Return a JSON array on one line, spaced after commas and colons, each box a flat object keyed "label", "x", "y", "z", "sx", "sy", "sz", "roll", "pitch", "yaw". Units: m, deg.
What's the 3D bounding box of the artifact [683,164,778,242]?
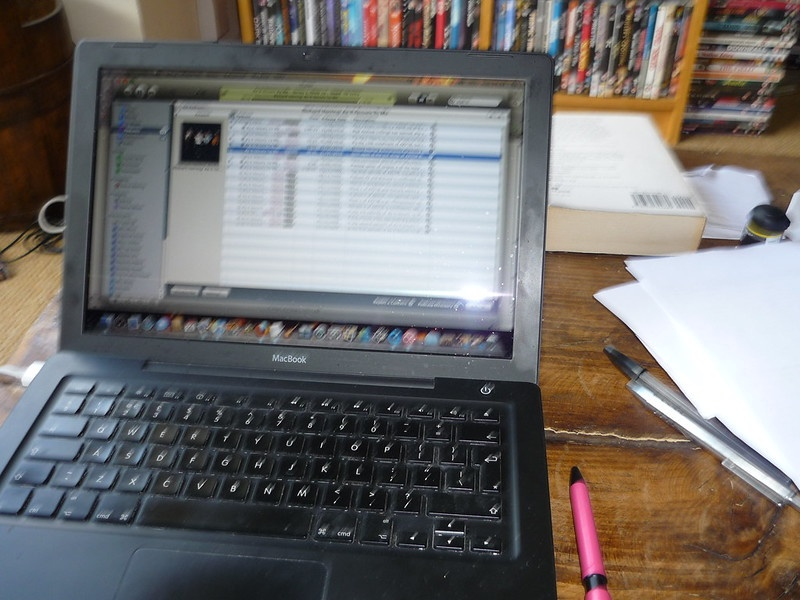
[{"label": "artifact", "x": 0.457, "y": -0.149, "z": 0.853, "sx": 0.135, "sy": 0.031, "sz": 0.123, "roll": 2, "pitch": 41, "yaw": 8}]
